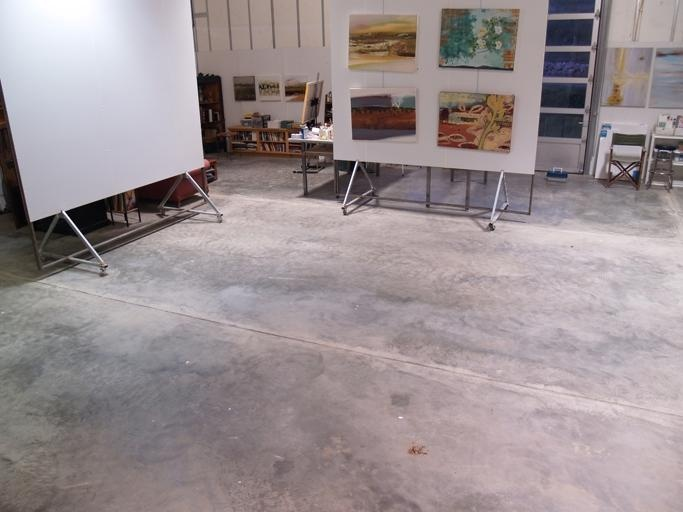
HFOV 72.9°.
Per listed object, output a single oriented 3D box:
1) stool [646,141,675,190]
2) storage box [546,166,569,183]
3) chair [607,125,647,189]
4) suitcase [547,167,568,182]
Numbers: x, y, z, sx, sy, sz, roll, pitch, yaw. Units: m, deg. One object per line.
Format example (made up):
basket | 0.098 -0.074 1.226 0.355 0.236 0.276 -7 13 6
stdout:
stool | 5.937 -1.651 8.529 0.445 0.790 0.613 13 24 30
storage box | 4.308 -1.633 9.224 0.377 0.241 0.348 7 17 31
chair | 5.439 -1.868 8.859 0.634 0.968 0.758 11 23 25
suitcase | 4.283 -1.622 9.188 0.383 0.234 0.309 9 21 23
